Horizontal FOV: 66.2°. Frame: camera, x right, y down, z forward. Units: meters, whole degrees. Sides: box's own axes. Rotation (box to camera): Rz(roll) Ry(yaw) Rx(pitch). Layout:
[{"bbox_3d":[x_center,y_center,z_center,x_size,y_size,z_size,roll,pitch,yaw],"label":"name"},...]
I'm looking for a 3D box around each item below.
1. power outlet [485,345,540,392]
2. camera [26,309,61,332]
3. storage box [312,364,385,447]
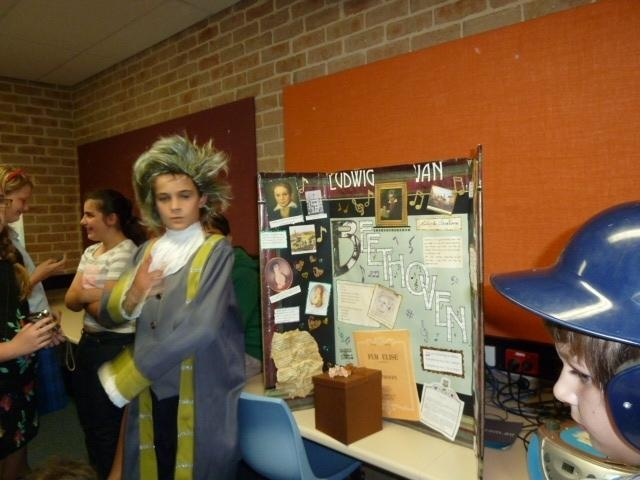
[{"bbox_3d":[0.890,0.589,2.250,0.055,0.157,0.209,3,4,-44],"label":"power outlet"},{"bbox_3d":[-1.262,0.352,2.252,0.115,0.153,0.082,0,18,-4],"label":"camera"},{"bbox_3d":[0.109,0.580,1.831,0.243,0.223,0.232,-3,1,-40],"label":"storage box"}]
